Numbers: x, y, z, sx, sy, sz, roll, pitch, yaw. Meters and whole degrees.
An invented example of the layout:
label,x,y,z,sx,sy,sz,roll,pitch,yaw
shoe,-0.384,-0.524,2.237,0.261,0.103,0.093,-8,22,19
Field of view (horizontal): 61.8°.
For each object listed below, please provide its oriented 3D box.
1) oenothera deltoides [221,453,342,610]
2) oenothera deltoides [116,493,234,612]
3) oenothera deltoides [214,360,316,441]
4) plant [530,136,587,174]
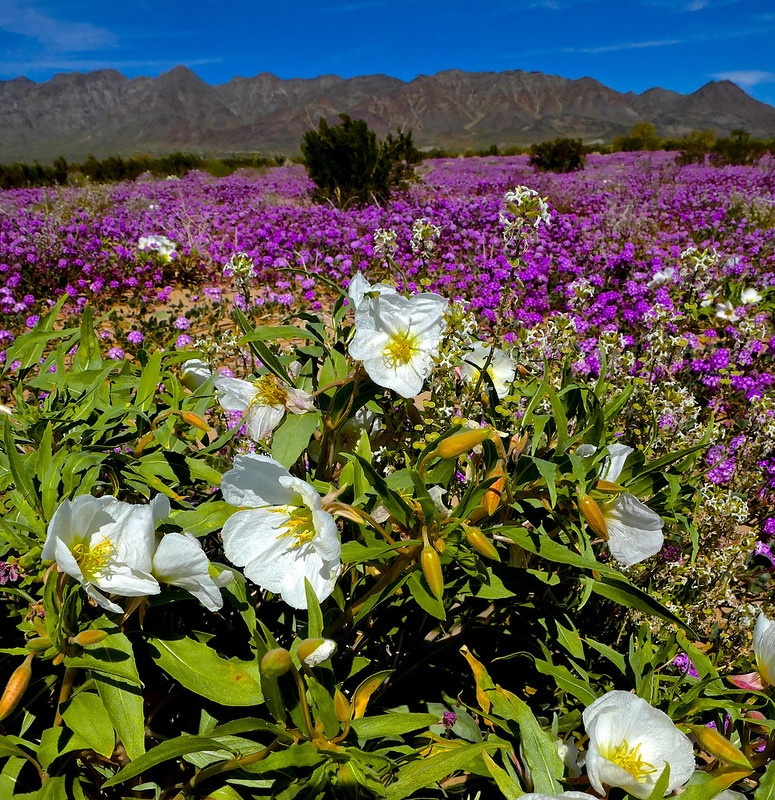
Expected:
label,x,y,z,sx,sy,sz,roll,pitch,yaw
oenothera deltoides,-0.187,0.223,1.183,0.245,0.269,0.125,12,28,23
oenothera deltoides,-0.412,0.269,1.208,0.107,0.217,0.201,-26,52,22
oenothera deltoides,-0.273,-0.002,1.484,0.187,0.178,0.082,-34,-5,28
plant,5.569,-7.807,20.904,1.640,1.225,1.555,-1,-8,2
